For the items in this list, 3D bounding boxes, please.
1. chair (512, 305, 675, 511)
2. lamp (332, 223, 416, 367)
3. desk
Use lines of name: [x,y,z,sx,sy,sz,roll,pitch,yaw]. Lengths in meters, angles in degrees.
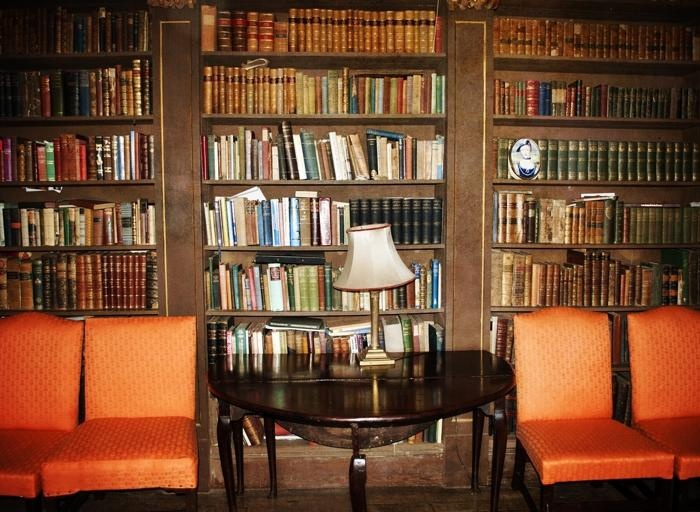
chair: [1.365,0.891,4.615,0.809,1.173,0.565,-1,3,3]
lamp: [0.112,0.227,4.695,0.396,0.827,0.391,-3,3,-25]
desk: [0.005,1.179,4.786,1.866,0.661,0.998,1,25,0]
